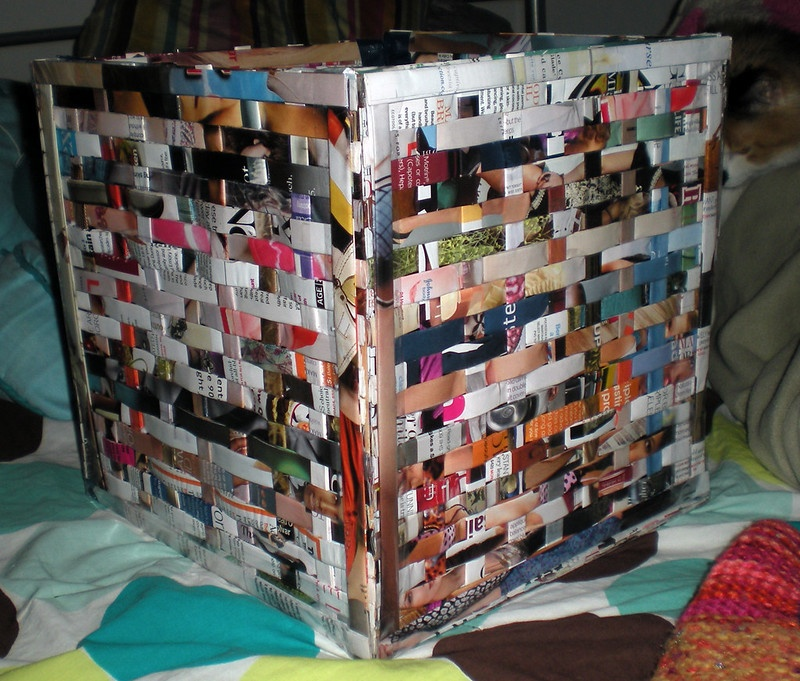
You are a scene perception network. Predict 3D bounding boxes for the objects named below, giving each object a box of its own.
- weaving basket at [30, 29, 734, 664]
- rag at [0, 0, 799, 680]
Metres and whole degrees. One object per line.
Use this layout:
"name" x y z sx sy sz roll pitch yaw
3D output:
"weaving basket" -0.002 -0.035 1.148 0.827 0.470 0.738 3 14 10
"rag" 0.023 -0.037 1.183 0.811 0.620 0.722 -6 13 -12
